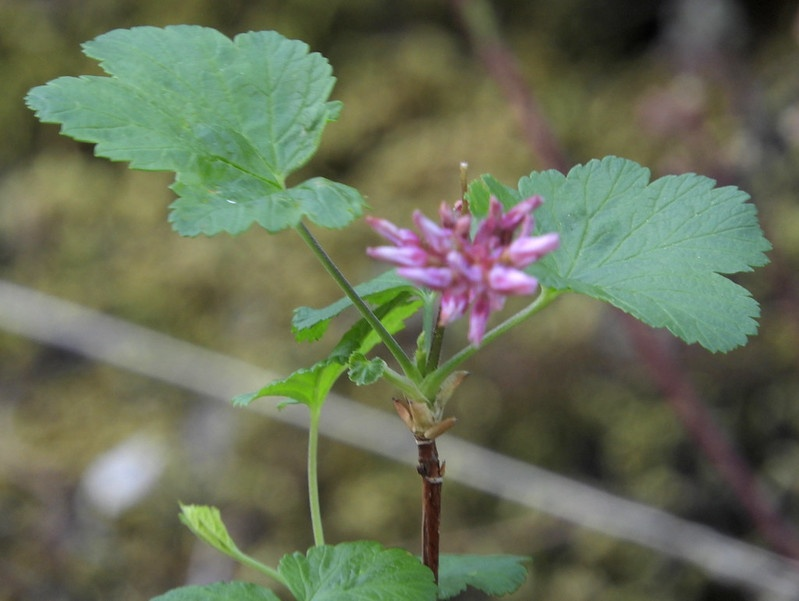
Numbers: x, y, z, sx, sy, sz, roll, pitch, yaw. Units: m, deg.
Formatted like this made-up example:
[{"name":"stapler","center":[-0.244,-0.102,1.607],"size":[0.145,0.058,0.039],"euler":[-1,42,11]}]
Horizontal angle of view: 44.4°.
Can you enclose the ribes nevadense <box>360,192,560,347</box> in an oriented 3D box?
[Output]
[{"name":"ribes nevadense","center":[0.186,-0.111,2.677],"size":[0.441,0.197,0.422],"euler":[-27,50,-30]}]
